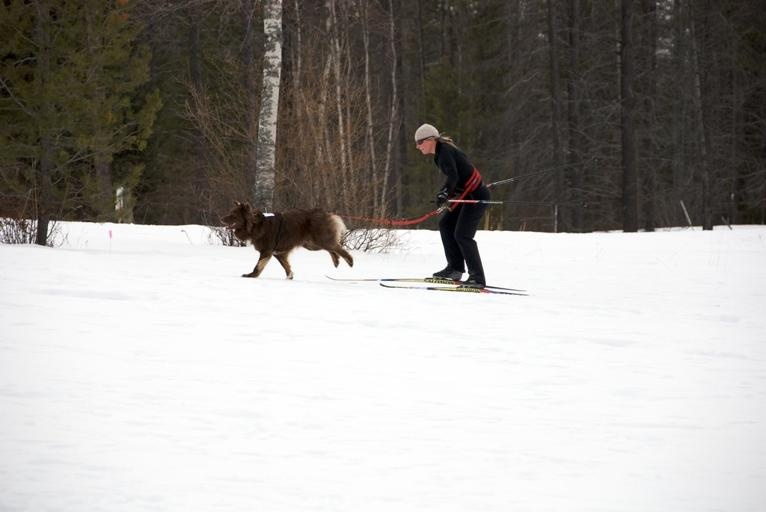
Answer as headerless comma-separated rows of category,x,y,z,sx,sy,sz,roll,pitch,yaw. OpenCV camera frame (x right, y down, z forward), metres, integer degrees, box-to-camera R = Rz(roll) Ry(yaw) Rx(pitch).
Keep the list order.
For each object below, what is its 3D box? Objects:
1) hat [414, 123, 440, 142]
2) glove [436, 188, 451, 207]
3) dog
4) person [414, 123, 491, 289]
hat,0.866,-2.497,22.925,0.533,0.462,0.425,5,3,19
glove,1.182,-1.181,22.465,0.224,0.314,0.141,26,-5,-11
dog,-1.987,-0.315,23.540,2.655,1.543,0.888,0,1,-37
person,1.461,-1.037,22.817,1.336,3.242,0.939,1,0,-1
